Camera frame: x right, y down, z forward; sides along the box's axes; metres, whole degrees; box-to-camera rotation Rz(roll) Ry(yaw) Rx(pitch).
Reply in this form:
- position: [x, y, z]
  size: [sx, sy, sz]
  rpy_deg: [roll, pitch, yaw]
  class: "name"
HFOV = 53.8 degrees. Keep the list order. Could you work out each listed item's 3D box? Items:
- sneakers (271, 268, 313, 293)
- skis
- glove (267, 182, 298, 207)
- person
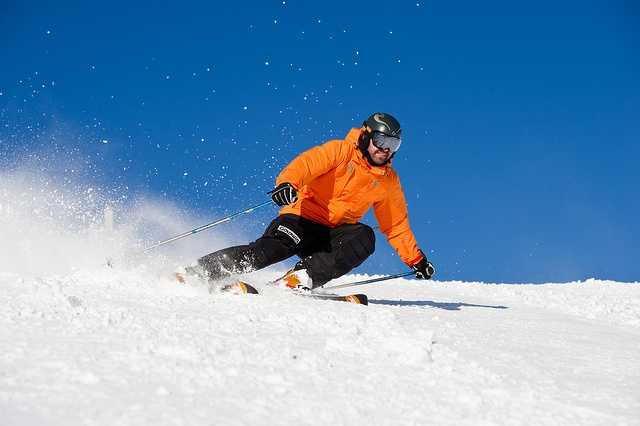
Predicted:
- position: [-0.331, 0.693, 6.524]
  size: [0.450, 0.210, 0.181]
  rpy_deg: [5, -20, 22]
  class: "sneakers"
- position: [-0.283, 0.785, 6.123]
  size: [1.411, 0.152, 0.211]
  rpy_deg: [7, 41, -7]
  class: "skis"
- position: [-0.344, -0.169, 6.040]
  size: [0.266, 0.264, 0.091]
  rpy_deg: [-7, -15, 7]
  class: "glove"
- position: [-0.013, 0.098, 6.273]
  size: [0.916, 0.974, 1.711]
  rpy_deg: [-8, 29, 46]
  class: "person"
